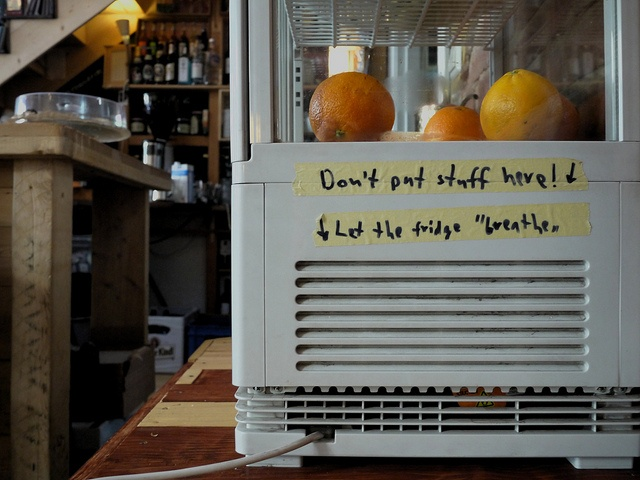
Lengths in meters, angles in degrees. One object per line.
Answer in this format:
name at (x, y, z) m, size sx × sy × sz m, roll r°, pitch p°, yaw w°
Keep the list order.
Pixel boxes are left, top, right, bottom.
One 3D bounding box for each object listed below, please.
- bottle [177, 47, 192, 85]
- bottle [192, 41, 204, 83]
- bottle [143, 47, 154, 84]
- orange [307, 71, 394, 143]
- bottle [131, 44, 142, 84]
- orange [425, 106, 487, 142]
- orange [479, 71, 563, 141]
bottle at (-0.657, -0.845, 5.401) m, size 0.061 × 0.159 × 0.077 m, roll -1°, pitch 1°, yaw -10°
bottle at (-0.592, -0.857, 5.391) m, size 0.062 × 0.180 × 0.064 m, roll -1°, pitch 1°, yaw 0°
bottle at (-0.834, -0.833, 5.421) m, size 0.055 × 0.146 × 0.052 m, roll -1°, pitch 1°, yaw 0°
orange at (0.067, -0.305, 2.591) m, size 0.163 × 0.172 × 0.162 m, roll 2°, pitch 16°, yaw 4°
bottle at (-0.889, -0.838, 5.410) m, size 0.054 × 0.155 × 0.047 m, roll -1°, pitch 1°, yaw -2°
orange at (0.307, -0.280, 2.634) m, size 0.096 × 0.095 × 0.099 m, roll 3°, pitch 9°, yaw 36°
orange at (0.462, -0.297, 2.578) m, size 0.159 × 0.201 × 0.159 m, roll 1°, pitch 5°, yaw 33°
